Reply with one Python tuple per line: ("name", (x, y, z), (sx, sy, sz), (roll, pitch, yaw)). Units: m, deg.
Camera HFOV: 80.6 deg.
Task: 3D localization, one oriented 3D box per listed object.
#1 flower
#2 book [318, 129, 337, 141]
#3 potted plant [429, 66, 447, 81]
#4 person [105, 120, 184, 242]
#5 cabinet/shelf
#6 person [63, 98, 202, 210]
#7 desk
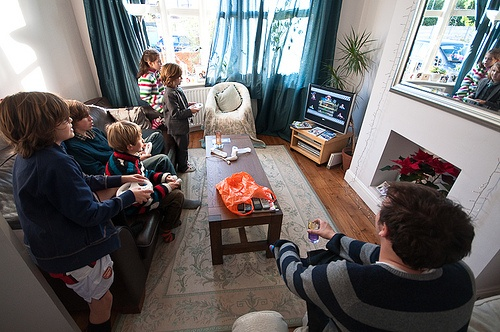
("flower", (1.769, 0.081, 2.993), (0.473, 0.210, 0.507), (20, 39, 35))
("book", (1.089, -0.428, 4.139), (0.234, 0.042, 0.316), (8, 34, 24))
("potted plant", (1.790, -0.877, 2.815), (0.149, 0.078, 0.115), (0, 43, 3))
("person", (-1.008, 0.190, 2.881), (0.694, 1.219, 0.473), (-6, 15, -36))
("cabinet/shelf", (1.087, -0.233, 4.558), (0.676, 0.494, 0.844), (-14, 50, -21))
("person", (-1.146, -0.228, 3.079), (1.092, 1.346, 0.598), (-13, 57, -3))
("desk", (-0.080, 0.333, 3.377), (0.673, 0.577, 1.449), (-3, 33, 1))
